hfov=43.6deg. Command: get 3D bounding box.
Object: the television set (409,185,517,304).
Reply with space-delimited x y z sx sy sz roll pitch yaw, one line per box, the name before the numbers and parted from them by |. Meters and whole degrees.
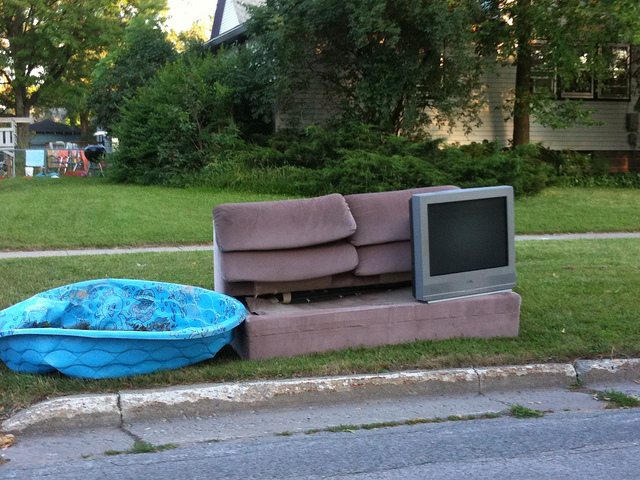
television set | 1.884 0.089 10.615 1.526 1.341 0.791 -4 7 -26
